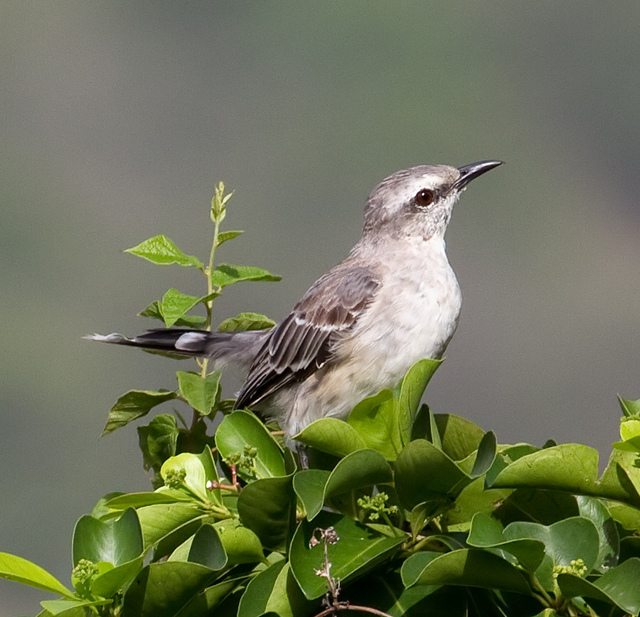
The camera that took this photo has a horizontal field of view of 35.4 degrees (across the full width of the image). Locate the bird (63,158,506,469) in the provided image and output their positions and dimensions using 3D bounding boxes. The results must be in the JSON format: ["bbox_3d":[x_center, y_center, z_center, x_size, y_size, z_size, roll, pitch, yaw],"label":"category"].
[{"bbox_3d":[-0.075,0.093,2.518,0.977,0.373,0.788,-5,-91,20],"label":"bird"}]
